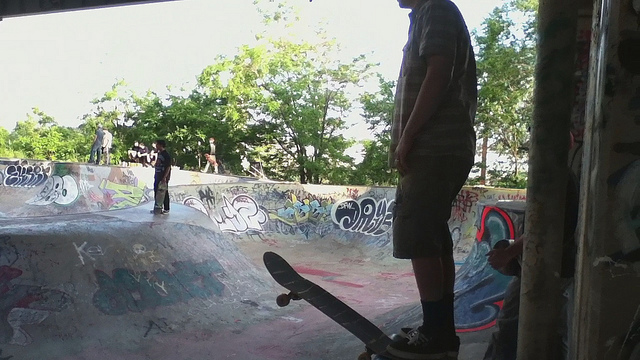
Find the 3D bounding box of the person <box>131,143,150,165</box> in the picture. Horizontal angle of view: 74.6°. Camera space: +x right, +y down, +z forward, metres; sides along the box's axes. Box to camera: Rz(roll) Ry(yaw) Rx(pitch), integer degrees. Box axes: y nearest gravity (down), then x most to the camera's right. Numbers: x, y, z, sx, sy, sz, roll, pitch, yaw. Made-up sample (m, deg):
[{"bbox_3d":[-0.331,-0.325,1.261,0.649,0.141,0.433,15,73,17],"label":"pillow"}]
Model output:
[{"bbox_3d":[-9.327,-1.300,21.854,0.763,1.063,1.042,7,-1,-13],"label":"person"}]
